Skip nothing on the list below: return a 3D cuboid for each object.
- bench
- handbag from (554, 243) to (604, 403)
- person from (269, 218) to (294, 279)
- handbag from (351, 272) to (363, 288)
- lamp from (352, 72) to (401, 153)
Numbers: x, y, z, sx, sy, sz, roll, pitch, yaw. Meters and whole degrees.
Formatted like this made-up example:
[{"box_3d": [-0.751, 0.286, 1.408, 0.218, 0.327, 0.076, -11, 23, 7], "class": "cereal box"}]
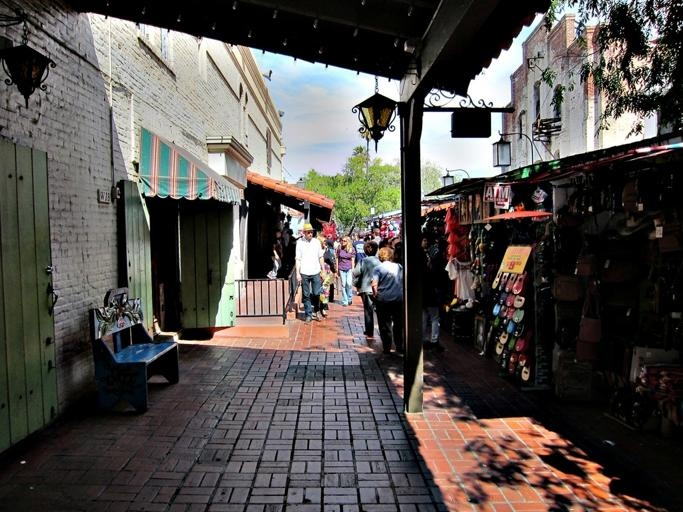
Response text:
[{"box_3d": [-2.868, 1.346, 6.878, 0.491, 1.309, 1.342, -1, 4, 0], "class": "bench"}, {"box_3d": [2.978, 0.891, 6.401, 0.576, 2.031, 0.449, 3, 6, 26], "class": "handbag"}, {"box_3d": [-2.361, -0.244, 19.525, 0.657, 0.826, 2.177, -11, 16, 1], "class": "person"}, {"box_3d": [0.308, 0.511, 9.917, 0.199, 0.260, 0.215, 0, -3, 1], "class": "handbag"}, {"box_3d": [0.472, -2.109, 6.708, 0.677, 1.435, 0.677, -6, 23, -12], "class": "lamp"}]
